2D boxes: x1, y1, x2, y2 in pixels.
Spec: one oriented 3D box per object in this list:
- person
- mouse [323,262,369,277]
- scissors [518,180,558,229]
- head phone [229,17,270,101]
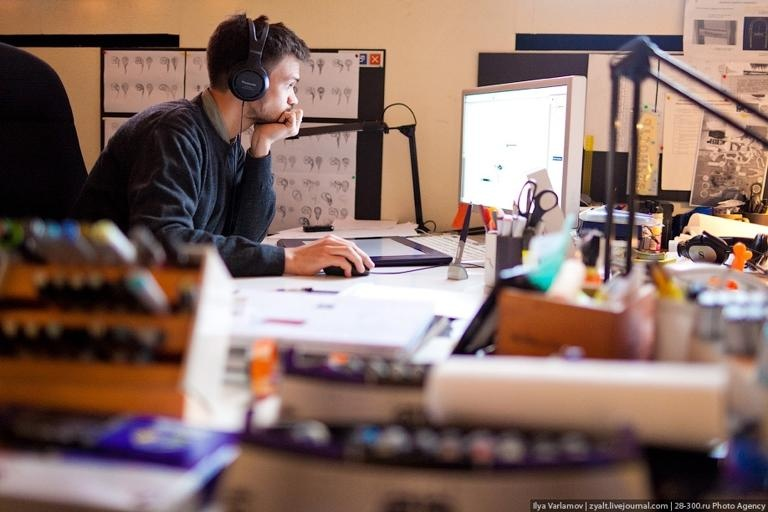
[{"bbox_3d":[-0.280,-0.321,1.736,0.880,0.773,0.616,3,9,-6],"label":"person"},{"bbox_3d":[-0.090,0.024,1.386,0.066,0.020,0.035,-3,11,-1],"label":"mouse"},{"bbox_3d":[0.324,-0.107,1.324,0.104,0.097,0.036,27,17,39],"label":"scissors"},{"bbox_3d":[-0.336,-0.494,1.537,0.087,0.185,0.213,6,5,-5],"label":"head phone"}]
